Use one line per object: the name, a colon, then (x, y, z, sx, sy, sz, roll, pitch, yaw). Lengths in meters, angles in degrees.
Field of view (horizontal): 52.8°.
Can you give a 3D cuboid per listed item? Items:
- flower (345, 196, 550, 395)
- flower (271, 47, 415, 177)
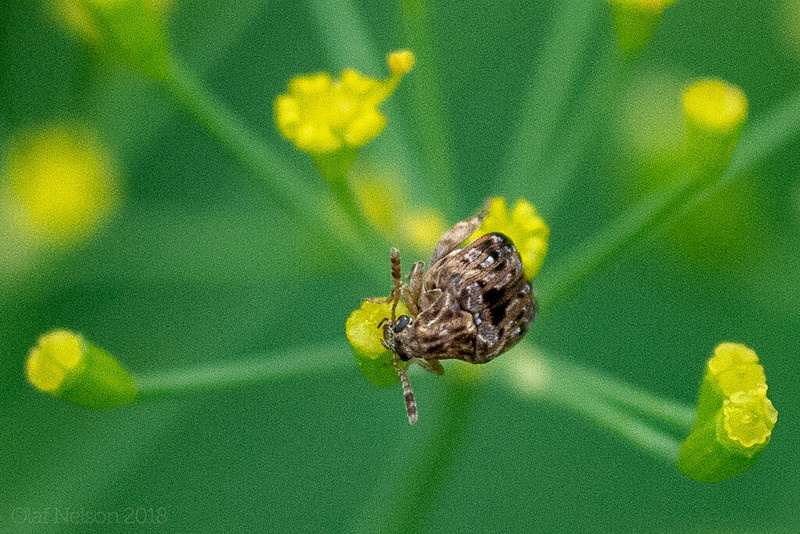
flower: (0.127, 0.062, 2.156, 0.515, 0.514, 0.153, -40, 42, -14)
flower: (-0.150, -0.416, 2.141, 0.383, 0.258, 0.300, -8, -8, 8)
